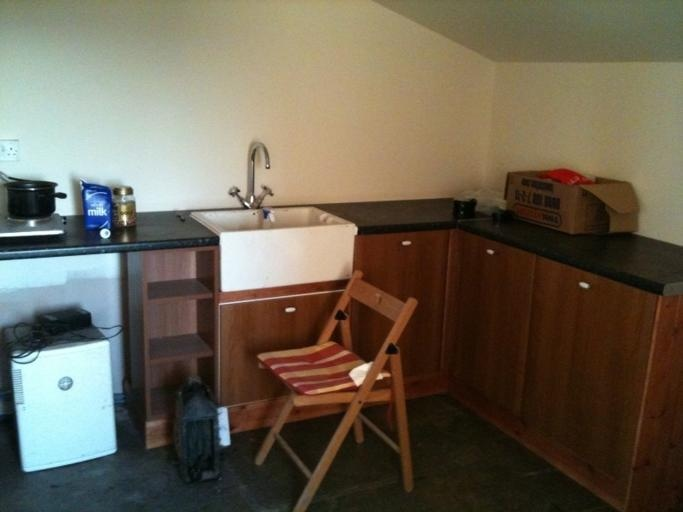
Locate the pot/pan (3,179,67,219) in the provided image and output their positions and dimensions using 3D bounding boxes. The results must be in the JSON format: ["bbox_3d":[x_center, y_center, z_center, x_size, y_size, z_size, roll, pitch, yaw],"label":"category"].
[{"bbox_3d":[-1.429,-0.278,2.613,0.278,0.112,0.179,10,15,32],"label":"pot/pan"}]

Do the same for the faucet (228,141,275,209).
[{"bbox_3d":[-0.491,-0.452,3.190,0.275,0.375,0.244,-4,14,-29],"label":"faucet"}]

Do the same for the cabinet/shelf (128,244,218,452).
[{"bbox_3d":[-0.901,0.422,2.961,0.461,1.012,0.537,-7,13,-22],"label":"cabinet/shelf"}]

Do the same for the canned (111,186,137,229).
[{"bbox_3d":[-1.110,-0.252,2.851,0.134,0.204,0.128,5,19,-2],"label":"canned"}]

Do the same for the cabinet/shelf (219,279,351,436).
[{"bbox_3d":[-0.301,0.468,2.788,0.790,0.694,0.273,-5,15,-20],"label":"cabinet/shelf"}]
